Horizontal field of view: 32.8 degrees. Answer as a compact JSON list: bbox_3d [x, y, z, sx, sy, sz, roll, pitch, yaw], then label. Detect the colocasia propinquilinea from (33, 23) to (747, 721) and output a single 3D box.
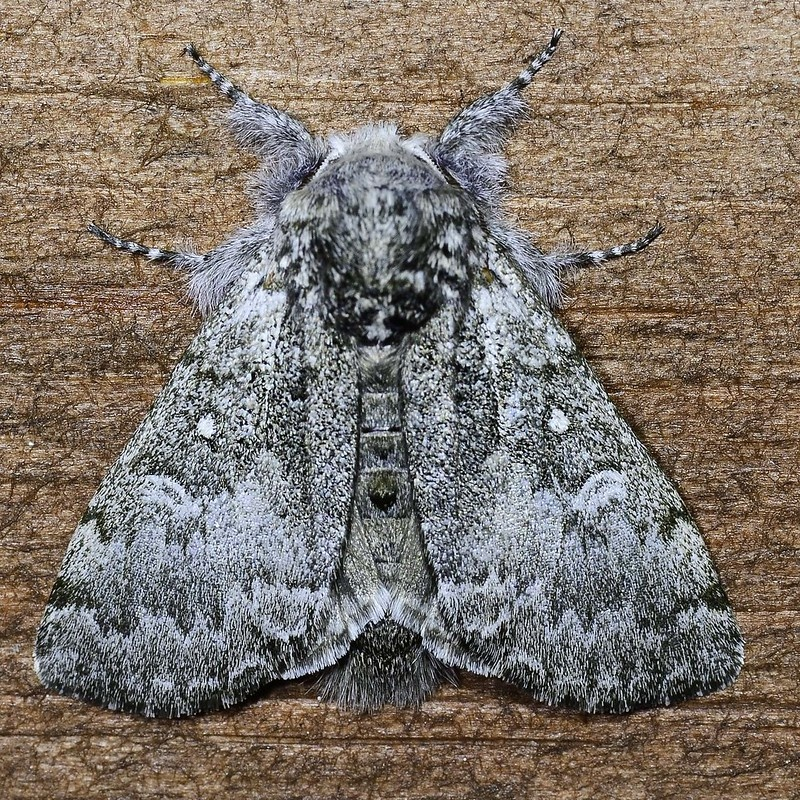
[{"bbox_3d":[-0.074,-0.092,3.769,2.328,0.474,1.757,-2,100,0],"label":"colocasia propinquilinea"}]
